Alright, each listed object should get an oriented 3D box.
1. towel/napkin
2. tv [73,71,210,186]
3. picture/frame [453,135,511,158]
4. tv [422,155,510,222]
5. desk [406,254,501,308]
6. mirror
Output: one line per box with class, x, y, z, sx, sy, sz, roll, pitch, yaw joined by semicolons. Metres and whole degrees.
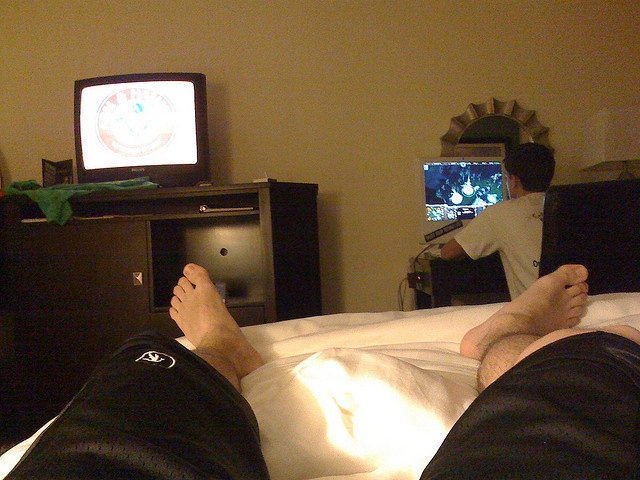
towel/napkin;-0.973;-0.190;2.134;0.532;0.217;0.232;-3;45;-28
tv;-0.765;-0.507;2.464;0.695;0.459;0.358;-1;4;10
picture/frame;0.835;-0.494;2.740;0.321;0.182;0.020;-3;23;-5
tv;0.662;-0.231;2.443;0.511;0.314;0.046;-5;5;-26
desk;0.608;0.160;2.366;0.369;0.280;0.329;-8;-5;-6
mirror;0.894;-0.582;2.664;0.638;0.438;0.041;-1;31;0
